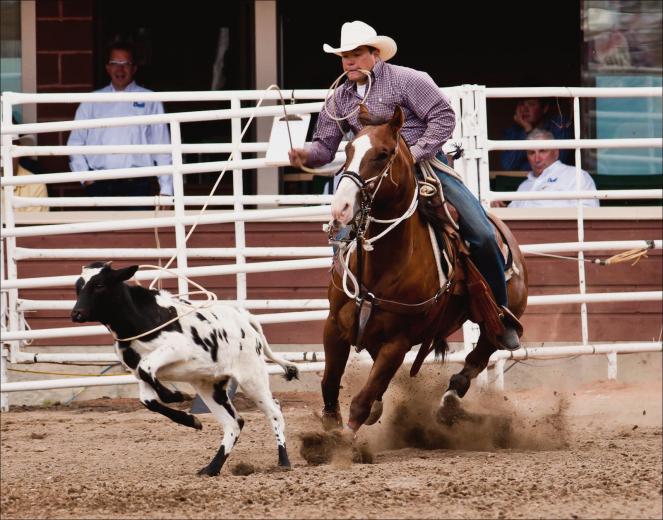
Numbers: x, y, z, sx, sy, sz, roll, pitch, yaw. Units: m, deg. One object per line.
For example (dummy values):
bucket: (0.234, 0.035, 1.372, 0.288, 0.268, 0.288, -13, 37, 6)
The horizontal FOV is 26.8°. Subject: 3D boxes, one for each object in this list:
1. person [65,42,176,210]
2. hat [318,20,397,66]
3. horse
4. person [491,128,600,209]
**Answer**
person: (-2.112, -1.359, 13.777, 1.004, 1.729, 1.372, -4, 3, -13)
hat: (0.293, -1.682, 11.048, 0.467, 0.161, 0.393, 10, -27, -31)
horse: (0.653, 0.093, 11.136, 1.168, 2.572, 2.577, -1, 3, 36)
person: (2.127, -0.842, 13.768, 0.709, 0.767, 1.179, -6, 6, -37)
